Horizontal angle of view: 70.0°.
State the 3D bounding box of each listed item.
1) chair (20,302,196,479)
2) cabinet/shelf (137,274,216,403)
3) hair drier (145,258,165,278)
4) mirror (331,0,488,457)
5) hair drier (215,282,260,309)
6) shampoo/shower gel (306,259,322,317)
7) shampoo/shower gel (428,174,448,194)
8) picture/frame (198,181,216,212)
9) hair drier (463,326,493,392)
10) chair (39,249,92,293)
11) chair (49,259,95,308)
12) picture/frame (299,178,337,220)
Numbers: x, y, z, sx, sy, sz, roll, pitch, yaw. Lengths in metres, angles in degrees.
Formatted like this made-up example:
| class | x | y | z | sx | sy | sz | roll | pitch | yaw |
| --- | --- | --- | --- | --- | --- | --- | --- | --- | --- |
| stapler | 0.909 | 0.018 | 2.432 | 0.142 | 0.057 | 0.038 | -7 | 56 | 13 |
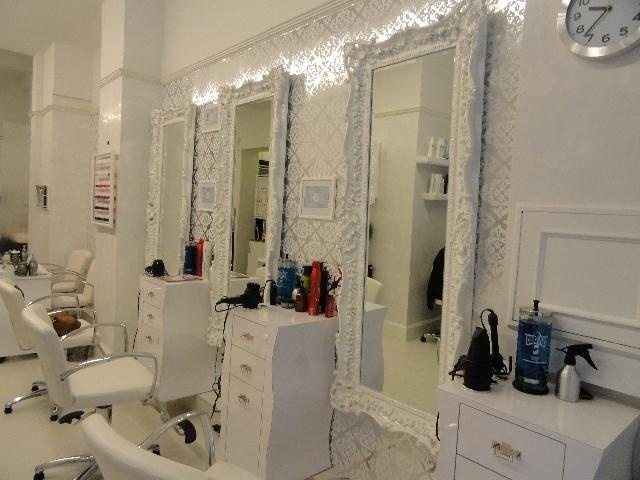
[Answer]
| class | x | y | z | sx | sy | sz | roll | pitch | yaw |
| --- | --- | --- | --- | --- | --- | --- | --- | --- | --- |
| chair | -1.636 | 1.070 | 3.527 | 1.045 | 1.337 | 1.070 | -1 | 4 | -33 |
| cabinet/shelf | -1.338 | 0.805 | 4.113 | 0.449 | 0.926 | 0.610 | 0 | 7 | -40 |
| hair drier | -1.501 | 0.265 | 4.184 | 0.111 | 0.114 | 0.194 | 3 | -5 | -34 |
| mirror | 0.488 | -0.053 | 2.769 | 0.952 | 2.617 | 0.140 | 2 | 0 | 38 |
| hair drier | -0.570 | 0.377 | 3.250 | 0.269 | 0.191 | 0.163 | -1 | 4 | -16 |
| shampoo/shower gel | -0.035 | 0.332 | 3.156 | 0.081 | 0.362 | 0.087 | 3 | 2 | 26 |
| shampoo/shower gel | 0.682 | -0.322 | 2.652 | 0.067 | 0.131 | 0.038 | 3 | 6 | 29 |
| picture/frame | -1.062 | -0.414 | 4.335 | 0.022 | 0.328 | 0.288 | 0 | -2 | -42 |
| hair drier | 0.796 | 0.593 | 2.290 | 0.148 | 0.294 | 0.152 | 7 | -5 | -23 |
| chair | -3.395 | 0.581 | 6.136 | 0.568 | 0.788 | 0.570 | 1 | -3 | -30 |
| chair | -3.136 | 0.566 | 5.833 | 0.449 | 0.736 | 0.456 | 7 | 1 | -39 |
| picture/frame | -0.002 | -0.297 | 3.302 | 0.037 | 0.302 | 0.284 | 4 | -3 | -42 |
